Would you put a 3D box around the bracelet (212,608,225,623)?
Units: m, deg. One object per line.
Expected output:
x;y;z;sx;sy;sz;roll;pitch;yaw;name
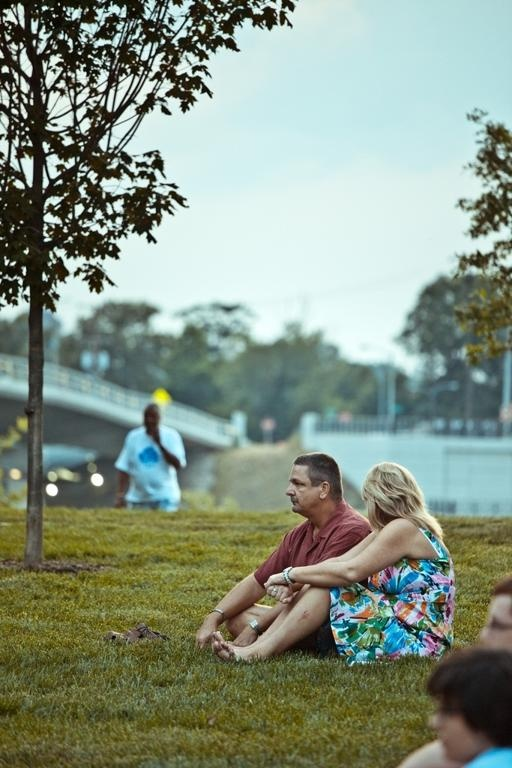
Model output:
-0.181;1.174;7.153;0.038;0.069;0.053;8;-5;-41;bracelet

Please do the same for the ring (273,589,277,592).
0.096;0.987;6.777;0.005;0.014;0.015;18;-12;33;ring

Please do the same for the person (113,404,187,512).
-0.843;0.607;11.487;0.531;0.869;0.745;0;-3;-6;person

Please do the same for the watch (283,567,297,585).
0.155;0.915;6.773;0.055;0.078;0.084;-9;2;-7;watch

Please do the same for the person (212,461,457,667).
0.411;0.893;6.871;1.083;1.012;0.473;3;-9;-5;person

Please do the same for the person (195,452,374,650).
0.177;0.865;7.133;0.903;1.025;0.730;-2;-4;10;person
